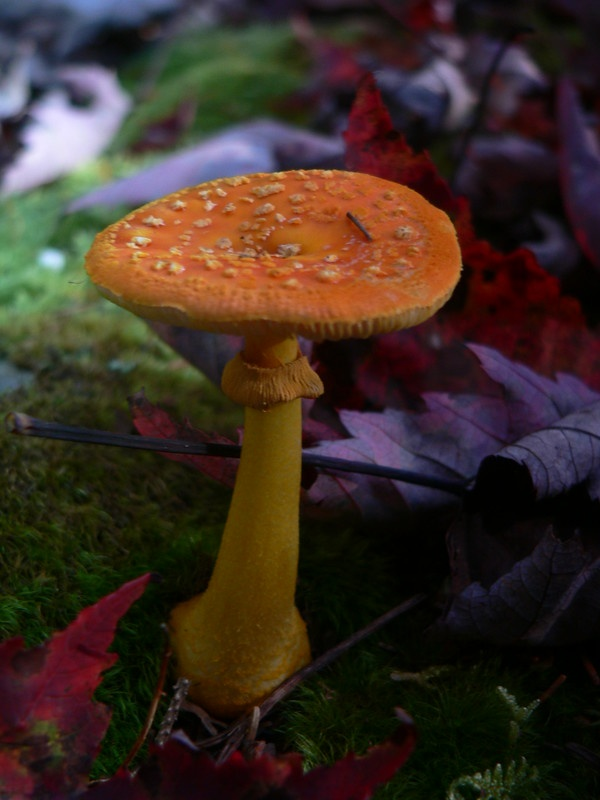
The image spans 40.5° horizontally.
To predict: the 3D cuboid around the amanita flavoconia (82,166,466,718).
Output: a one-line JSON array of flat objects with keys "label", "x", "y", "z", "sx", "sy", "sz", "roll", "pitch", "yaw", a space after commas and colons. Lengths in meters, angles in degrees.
[{"label": "amanita flavoconia", "x": -0.043, "y": 0.043, "z": 0.937, "sx": 0.370, "sy": 0.509, "sz": 0.494, "roll": 8, "pitch": 44, "yaw": 6}]
